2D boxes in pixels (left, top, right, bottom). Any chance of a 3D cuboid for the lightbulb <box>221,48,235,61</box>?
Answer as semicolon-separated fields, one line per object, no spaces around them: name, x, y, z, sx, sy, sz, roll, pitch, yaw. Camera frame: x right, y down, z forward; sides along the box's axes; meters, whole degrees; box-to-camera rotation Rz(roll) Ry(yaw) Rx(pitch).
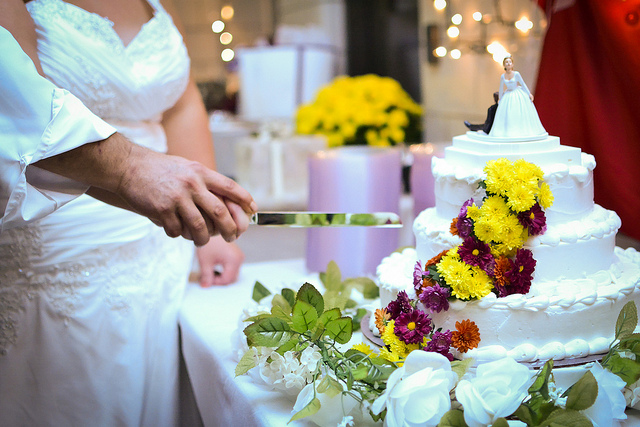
lightbulb;-1.027;-1.771;7.106;0.077;0.149;0.246;-6;5;-33

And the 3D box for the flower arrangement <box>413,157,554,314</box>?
flower arrangement;0.411;0.017;1.632;0.327;0.382;0.301;1;12;9

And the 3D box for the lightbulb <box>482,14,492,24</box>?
lightbulb;0.607;-0.701;2.301;0.032;0.023;0.033;0;-1;18

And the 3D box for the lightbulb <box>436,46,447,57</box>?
lightbulb;0.514;-0.681;2.661;0.044;0.043;0.127;-3;4;11

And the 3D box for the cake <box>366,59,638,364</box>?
cake;0.584;-0.003;1.831;0.765;0.756;0.736;-6;11;22

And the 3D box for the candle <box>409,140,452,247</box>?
candle;0.440;-0.039;2.397;0.127;0.455;0.143;-9;20;-9

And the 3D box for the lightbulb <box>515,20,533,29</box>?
lightbulb;0.671;-0.612;2.070;0.048;0.039;0.077;-2;4;17
